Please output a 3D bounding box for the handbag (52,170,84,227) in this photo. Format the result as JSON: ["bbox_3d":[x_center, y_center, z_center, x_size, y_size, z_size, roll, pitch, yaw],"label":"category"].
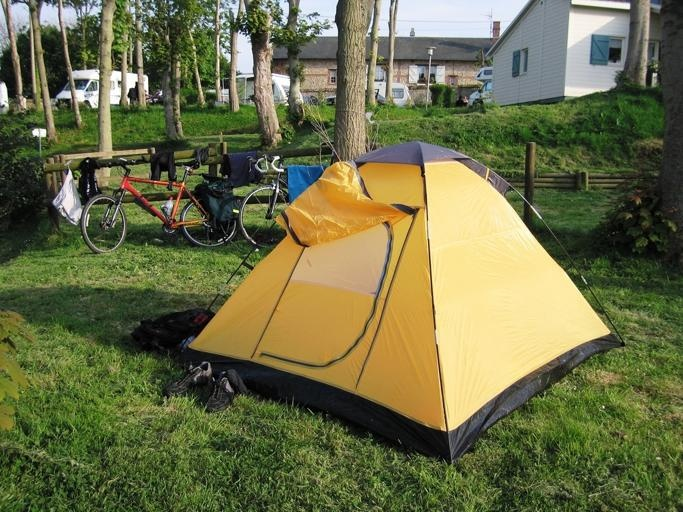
[{"bbox_3d":[-4.652,-0.975,11.077,0.158,1.208,0.574,-18,-33,19],"label":"handbag"}]

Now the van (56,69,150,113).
[{"bbox_3d":[-12.162,-8.388,32.594,3.194,1.725,7.836,-4,17,-13],"label":"van"}]

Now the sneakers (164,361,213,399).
[{"bbox_3d":[-1.577,1.302,6.918,0.219,0.274,0.618,19,28,41],"label":"sneakers"}]
